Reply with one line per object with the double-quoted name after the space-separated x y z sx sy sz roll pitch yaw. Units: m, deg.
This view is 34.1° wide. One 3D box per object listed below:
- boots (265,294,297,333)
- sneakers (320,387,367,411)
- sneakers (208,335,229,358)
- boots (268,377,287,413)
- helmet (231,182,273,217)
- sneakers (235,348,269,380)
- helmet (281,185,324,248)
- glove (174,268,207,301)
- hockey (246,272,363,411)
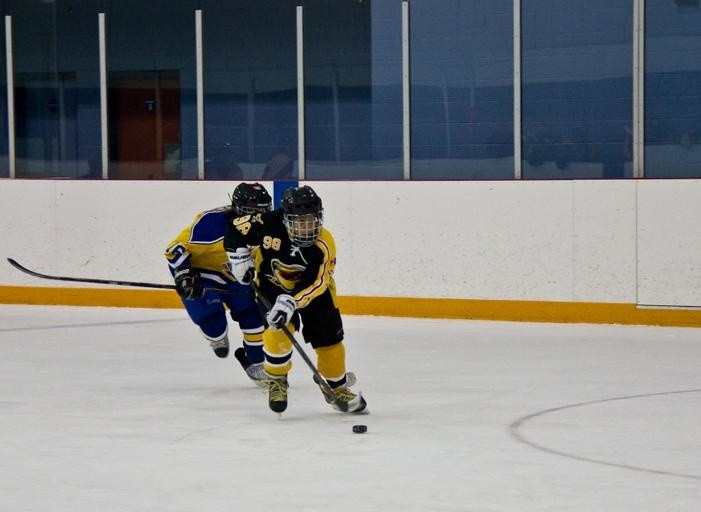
-0.398 0.327 6.572 0.162 0.079 0.202 13 -49 -43 "boots"
-0.025 0.839 6.683 0.243 0.154 0.130 -1 11 -3 "sneakers"
-0.872 0.598 7.578 0.076 0.198 0.090 -11 -1 7 "sneakers"
-0.420 0.808 6.648 0.084 0.098 0.237 -3 24 -6 "boots"
-0.659 -0.364 7.268 0.200 0.225 0.248 -3 16 -25 "helmet"
-0.639 0.705 7.407 0.116 0.136 0.372 -9 21 -37 "sneakers"
-0.276 -0.230 6.573 0.260 0.311 0.333 -4 12 -21 "helmet"
-1.008 0.165 7.234 0.163 0.198 0.085 8 35 14 "glove"
-0.310 0.544 6.955 0.147 0.976 0.146 -43 -1 21 "hockey"
